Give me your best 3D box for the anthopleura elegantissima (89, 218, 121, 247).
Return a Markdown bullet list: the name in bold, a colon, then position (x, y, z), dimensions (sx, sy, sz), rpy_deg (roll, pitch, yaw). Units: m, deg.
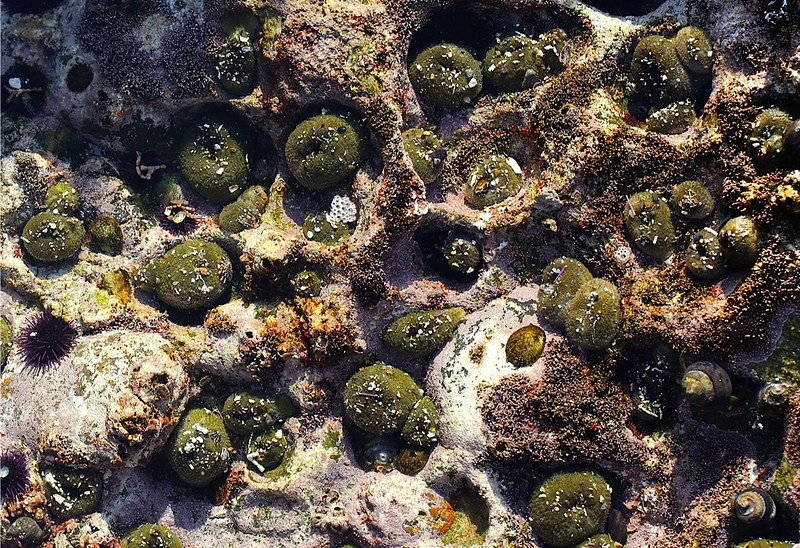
- **anthopleura elegantissima**: position (-7.166, -1.067, 33.091), dimensions (0.852, 0.285, 0.669), rpy_deg (4, 76, -2)
